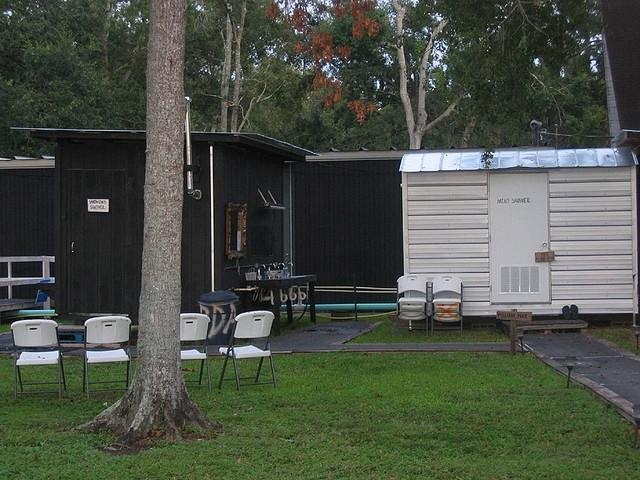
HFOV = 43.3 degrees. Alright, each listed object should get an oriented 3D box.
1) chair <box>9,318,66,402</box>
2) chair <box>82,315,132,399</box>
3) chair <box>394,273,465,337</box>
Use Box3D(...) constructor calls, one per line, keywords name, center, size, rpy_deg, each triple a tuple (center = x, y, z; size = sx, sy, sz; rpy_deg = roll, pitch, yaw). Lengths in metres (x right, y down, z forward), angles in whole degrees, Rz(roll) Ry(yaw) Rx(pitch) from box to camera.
Box3D(name="chair", center=(-4.214, 1.612, 12.211), size=(0.695, 1.207, 2.440), rpy_deg=(-3, 6, -19))
Box3D(name="chair", center=(-3.017, 1.611, 11.534), size=(0.738, 1.177, 0.717), rpy_deg=(-4, 8, -40))
Box3D(name="chair", center=(2.115, 1.252, 15.507), size=(1.255, 1.161, 0.865), rpy_deg=(0, 6, 10))
